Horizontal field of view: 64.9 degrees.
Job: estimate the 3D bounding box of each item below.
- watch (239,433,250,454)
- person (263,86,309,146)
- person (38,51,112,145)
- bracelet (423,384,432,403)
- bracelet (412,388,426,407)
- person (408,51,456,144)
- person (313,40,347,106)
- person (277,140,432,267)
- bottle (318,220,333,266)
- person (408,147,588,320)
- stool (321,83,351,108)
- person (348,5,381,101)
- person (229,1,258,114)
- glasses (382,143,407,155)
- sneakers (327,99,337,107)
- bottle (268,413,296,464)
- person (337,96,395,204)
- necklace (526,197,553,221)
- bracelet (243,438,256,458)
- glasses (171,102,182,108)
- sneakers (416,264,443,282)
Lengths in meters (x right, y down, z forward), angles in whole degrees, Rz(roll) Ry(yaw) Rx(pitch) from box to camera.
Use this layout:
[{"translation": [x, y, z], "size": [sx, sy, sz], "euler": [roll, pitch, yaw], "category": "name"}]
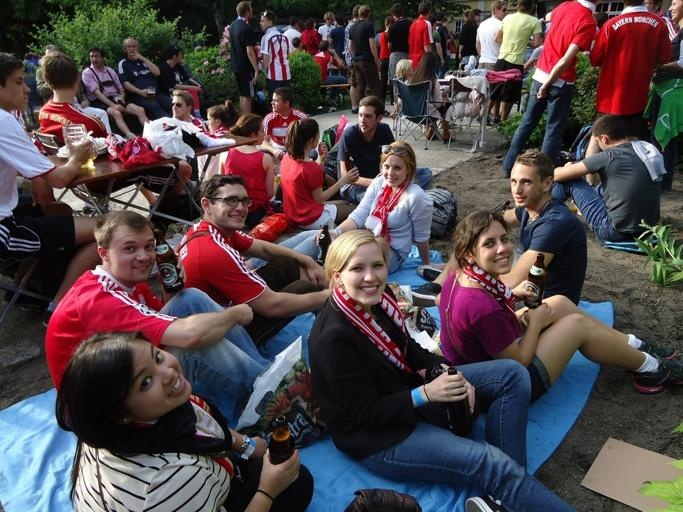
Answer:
[{"translation": [-0.563, 1.094, 3.111], "size": [0.028, 0.078, 0.058], "euler": [-6, -10, 36], "category": "watch"}, {"translation": [-0.796, -1.872, 7.519], "size": [0.678, 0.998, 0.633], "euler": [-3, 37, -11], "category": "person"}, {"translation": [-2.874, -1.638, 5.721], "size": [0.716, 1.091, 0.724], "euler": [-15, 42, -35], "category": "person"}, {"translation": [0.483, 0.789, 3.073], "size": [0.019, 0.078, 0.067], "euler": [-14, 19, -3], "category": "bracelet"}, {"translation": [0.438, 0.815, 3.084], "size": [0.090, 0.094, 0.093], "euler": [1, 1, 25], "category": "bracelet"}, {"translation": [1.555, -2.704, 9.232], "size": [0.927, 1.553, 0.383], "euler": [-16, 26, -33], "category": "person"}, {"translation": [-0.331, -4.941, 14.371], "size": [0.826, 1.652, 0.977], "euler": [3, 20, 5], "category": "person"}, {"translation": [0.260, -0.374, 5.289], "size": [1.333, 1.402, 0.575], "euler": [-10, 27, -23], "category": "person"}, {"translation": [-0.160, -0.125, 4.882], "size": [0.108, 0.355, 0.130], "euler": [3, 8, 28], "category": "bottle"}, {"translation": [1.427, -0.184, 4.448], "size": [1.210, 1.328, 0.798], "euler": [3, 16, 19], "category": "person"}, {"translation": [-0.180, -4.174, 13.808], "size": [0.446, 0.270, 1.064], "euler": [-3, 30, 5], "category": "stool"}, {"translation": [0.509, -4.413, 11.775], "size": [0.668, 2.072, 0.691], "euler": [-1, 21, 1], "category": "person"}, {"translation": [-1.890, -3.873, 10.479], "size": [0.501, 2.066, 0.997], "euler": [-6, 22, -13], "category": "person"}, {"translation": [0.494, -1.025, 5.063], "size": [0.213, 0.107, 0.147], "euler": [1, 22, 5], "category": "glasses"}, {"translation": [-0.249, -3.920, 13.558], "size": [0.179, 0.112, 0.293], "euler": [-6, 13, -11], "category": "sneakers"}, {"translation": [-0.341, 1.024, 2.987], "size": [0.116, 0.389, 0.124], "euler": [0, 36, 0], "category": "bottle"}, {"translation": [0.319, -1.250, 6.321], "size": [0.668, 1.190, 0.794], "euler": [2, 32, 9], "category": "person"}, {"translation": [1.587, -0.396, 4.299], "size": [0.131, 0.203, 0.112], "euler": [1, 12, -4], "category": "necklace"}, {"translation": [-0.531, 1.124, 3.154], "size": [0.064, 0.109, 0.101], "euler": [13, -11, 7], "category": "bracelet"}, {"translation": [-2.113, -1.946, 6.846], "size": [0.145, 0.085, 0.078], "euler": [17, 28, 38], "category": "glasses"}, {"translation": [0.860, 0.165, 5.287], "size": [0.104, 0.127, 0.292], "euler": [-17, 15, -33], "category": "sneakers"}]
